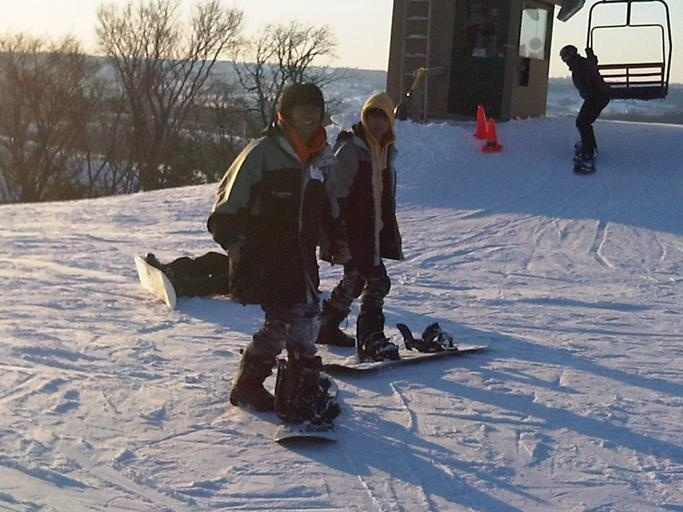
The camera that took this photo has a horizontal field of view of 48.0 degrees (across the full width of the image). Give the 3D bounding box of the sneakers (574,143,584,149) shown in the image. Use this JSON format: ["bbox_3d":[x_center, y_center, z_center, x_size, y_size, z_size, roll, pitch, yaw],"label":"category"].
[{"bbox_3d":[4.975,-2.314,16.211,0.183,0.178,0.183,6,21,18],"label":"sneakers"}]

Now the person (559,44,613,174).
[{"bbox_3d":[4.865,-2.895,15.387,0.826,2.510,0.895,3,10,27],"label":"person"}]

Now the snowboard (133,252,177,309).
[{"bbox_3d":[-2.290,0.277,9.329,0.213,0.316,1.105,13,17,-35],"label":"snowboard"}]

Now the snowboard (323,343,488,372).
[{"bbox_3d":[0.648,1.045,7.790,1.683,0.174,0.233,-2,1,-28],"label":"snowboard"}]

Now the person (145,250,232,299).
[{"bbox_3d":[-1.848,0.258,9.596,0.856,0.267,0.618,-6,36,-25],"label":"person"}]

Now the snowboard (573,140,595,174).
[{"bbox_3d":[4.963,-1.945,15.764,0.286,0.360,0.936,-1,15,11],"label":"snowboard"}]

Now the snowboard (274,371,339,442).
[{"bbox_3d":[-0.293,1.374,6.402,0.409,0.083,1.065,4,37,-4],"label":"snowboard"}]

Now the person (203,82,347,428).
[{"bbox_3d":[-0.552,0.020,6.561,0.982,2.928,0.464,-2,9,-3],"label":"person"}]
